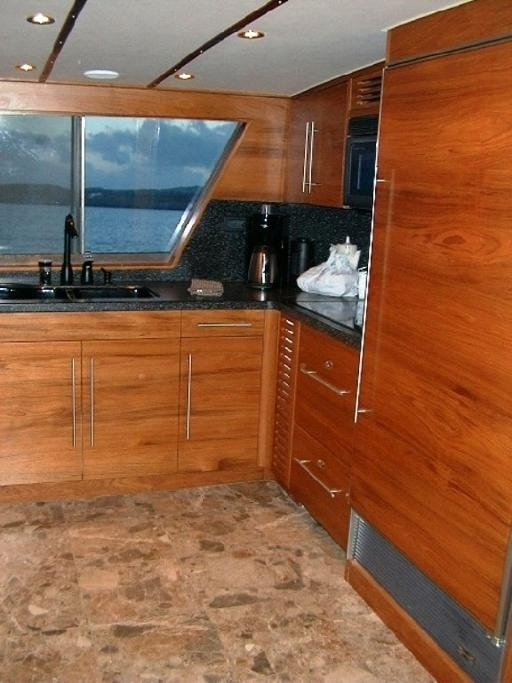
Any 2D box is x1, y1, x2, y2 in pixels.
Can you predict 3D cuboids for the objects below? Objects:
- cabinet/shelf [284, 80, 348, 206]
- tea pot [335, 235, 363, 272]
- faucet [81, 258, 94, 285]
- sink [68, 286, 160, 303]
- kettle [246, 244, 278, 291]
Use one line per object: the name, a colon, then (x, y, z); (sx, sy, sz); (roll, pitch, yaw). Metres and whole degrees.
cabinet/shelf: (0.309, -1.008, 2.632); (0.235, 0.521, 0.638); (-6, 21, -19)
tea pot: (0.484, -0.459, 2.727); (0.134, 0.161, 0.061); (3, 1, 16)
faucet: (-0.928, -0.380, 2.891); (0.063, 0.139, 0.069); (0, 8, -18)
sink: (-0.776, -0.263, 2.802); (0.466, 0.071, 0.248); (1, 8, -9)
kettle: (0.035, -0.415, 2.950); (0.173, 0.240, 0.093); (4, 8, 9)
